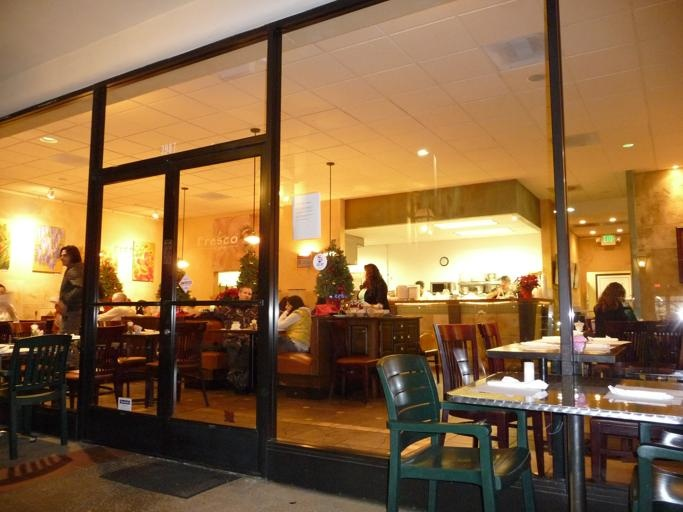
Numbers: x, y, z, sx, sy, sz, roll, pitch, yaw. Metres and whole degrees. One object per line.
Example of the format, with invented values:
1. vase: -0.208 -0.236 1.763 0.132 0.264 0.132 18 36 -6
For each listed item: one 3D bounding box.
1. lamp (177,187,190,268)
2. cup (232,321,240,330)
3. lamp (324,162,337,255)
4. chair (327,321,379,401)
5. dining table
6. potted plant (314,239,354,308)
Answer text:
1. lamp: -1.443 -0.258 4.762 0.106 0.763 0.145 -1 -1 -17
2. cup: -0.903 0.590 4.455 0.075 0.057 0.071 1 -8 0
3. lamp: -0.109 -0.449 4.675 0.109 0.755 0.098 1 -3 -5
4. chair: 0.121 1.079 5.599 0.570 0.811 0.417 -1 -1 -7
5. dining table: -0.857 0.880 4.577 0.541 0.472 0.538 -2 -3 44
6. potted plant: -0.126 0.157 4.693 0.263 0.564 0.408 -1 -1 41
